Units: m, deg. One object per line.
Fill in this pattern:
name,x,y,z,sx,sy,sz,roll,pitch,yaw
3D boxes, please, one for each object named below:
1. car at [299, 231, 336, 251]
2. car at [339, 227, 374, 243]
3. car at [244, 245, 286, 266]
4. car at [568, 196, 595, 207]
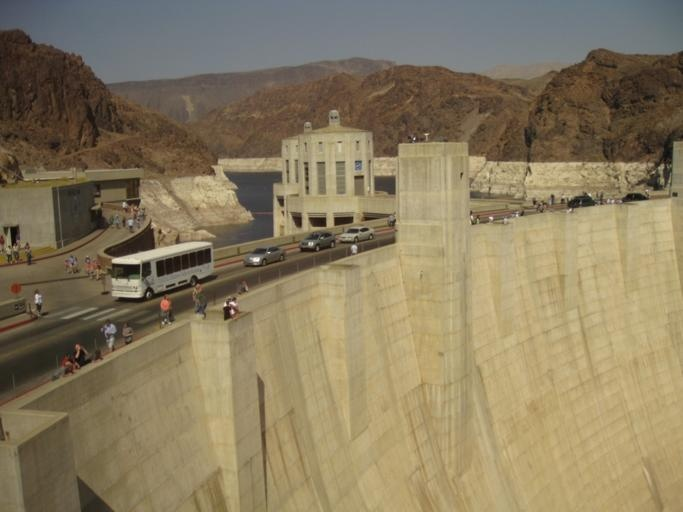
car,-2.034,-1.361,55.684,1.472,1.261,2.785,-2,2,37
car,1.671,-1.999,58.925,1.381,1.028,2.943,0,2,35
car,-5.721,-0.071,49.435,1.295,1.039,3.011,-3,1,29
car,25.139,-5.712,67.621,2.681,1.066,2.793,7,17,35
